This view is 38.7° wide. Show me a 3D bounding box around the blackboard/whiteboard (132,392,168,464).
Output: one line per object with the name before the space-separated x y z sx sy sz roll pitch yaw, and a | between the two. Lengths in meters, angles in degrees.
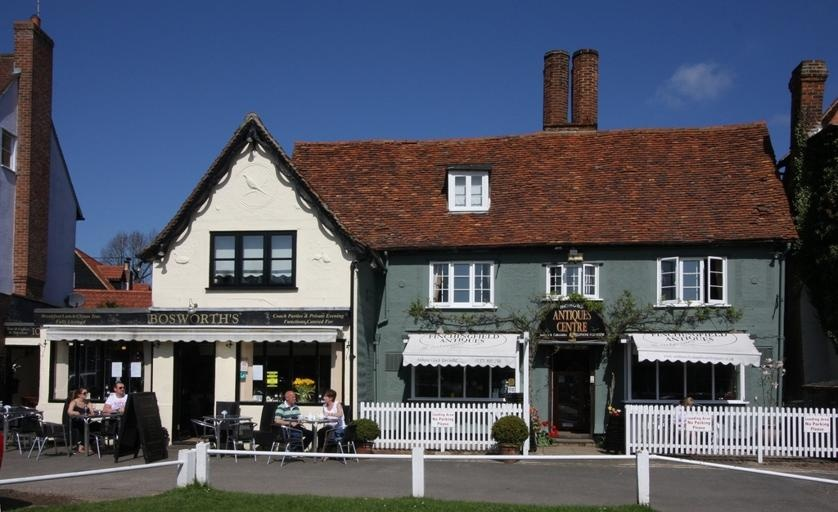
blackboard/whiteboard | -10.966 6.845 48.246 0.998 2.817 1.604 -3 -11 11

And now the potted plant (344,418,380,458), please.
potted plant | -2.441 7.615 50.645 1.462 1.507 1.512 -9 -13 40

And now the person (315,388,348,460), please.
person | -3.727 6.833 49.757 0.897 2.476 1.229 -1 -3 10

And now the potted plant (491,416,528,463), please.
potted plant | 4.095 7.790 51.436 1.883 1.854 1.813 -2 -9 -1

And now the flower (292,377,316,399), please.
flower | -5.072 5.794 52.382 0.886 0.849 0.868 1 -2 14
